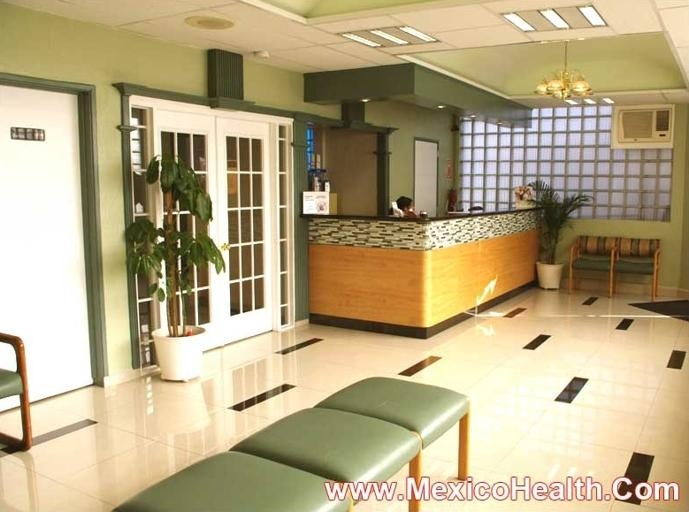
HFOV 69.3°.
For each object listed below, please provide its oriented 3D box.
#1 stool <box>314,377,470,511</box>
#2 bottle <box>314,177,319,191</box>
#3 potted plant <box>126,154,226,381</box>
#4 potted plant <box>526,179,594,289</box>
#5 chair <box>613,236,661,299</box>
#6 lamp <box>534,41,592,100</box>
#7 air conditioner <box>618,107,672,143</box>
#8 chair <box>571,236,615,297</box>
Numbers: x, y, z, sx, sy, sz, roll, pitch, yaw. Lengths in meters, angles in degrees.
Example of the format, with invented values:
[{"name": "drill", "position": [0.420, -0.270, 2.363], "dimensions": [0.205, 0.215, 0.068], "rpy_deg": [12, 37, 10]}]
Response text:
[{"name": "stool", "position": [0.372, 1.005, 3.194], "dimensions": [0.761, 0.577, 0.771], "rpy_deg": [2, 6, 31]}, {"name": "bottle", "position": [-0.411, -1.083, 7.421], "dimensions": [0.115, 0.195, 0.204], "rpy_deg": [-3, 7, -4]}, {"name": "potted plant", "position": [-1.743, 0.100, 5.200], "dimensions": [0.936, 2.305, 1.030], "rpy_deg": [-5, 8, -17]}, {"name": "potted plant", "position": [4.038, -0.700, 9.493], "dimensions": [0.823, 1.480, 0.974], "rpy_deg": [13, -2, 43]}, {"name": "chair", "position": [5.147, 0.187, 8.830], "dimensions": [0.750, 0.976, 0.650], "rpy_deg": [4, 9, 29]}, {"name": "lamp", "position": [2.999, -2.592, 6.810], "dimensions": [0.662, 0.784, 0.702], "rpy_deg": [2, 6, 0]}, {"name": "air conditioner", "position": [5.357, -2.349, 9.132], "dimensions": [1.023, 0.700, 0.555], "rpy_deg": [-2, 4, 2]}, {"name": "chair", "position": [4.547, 0.151, 9.081], "dimensions": [0.757, 0.939, 0.698], "rpy_deg": [3, 12, 33]}]
